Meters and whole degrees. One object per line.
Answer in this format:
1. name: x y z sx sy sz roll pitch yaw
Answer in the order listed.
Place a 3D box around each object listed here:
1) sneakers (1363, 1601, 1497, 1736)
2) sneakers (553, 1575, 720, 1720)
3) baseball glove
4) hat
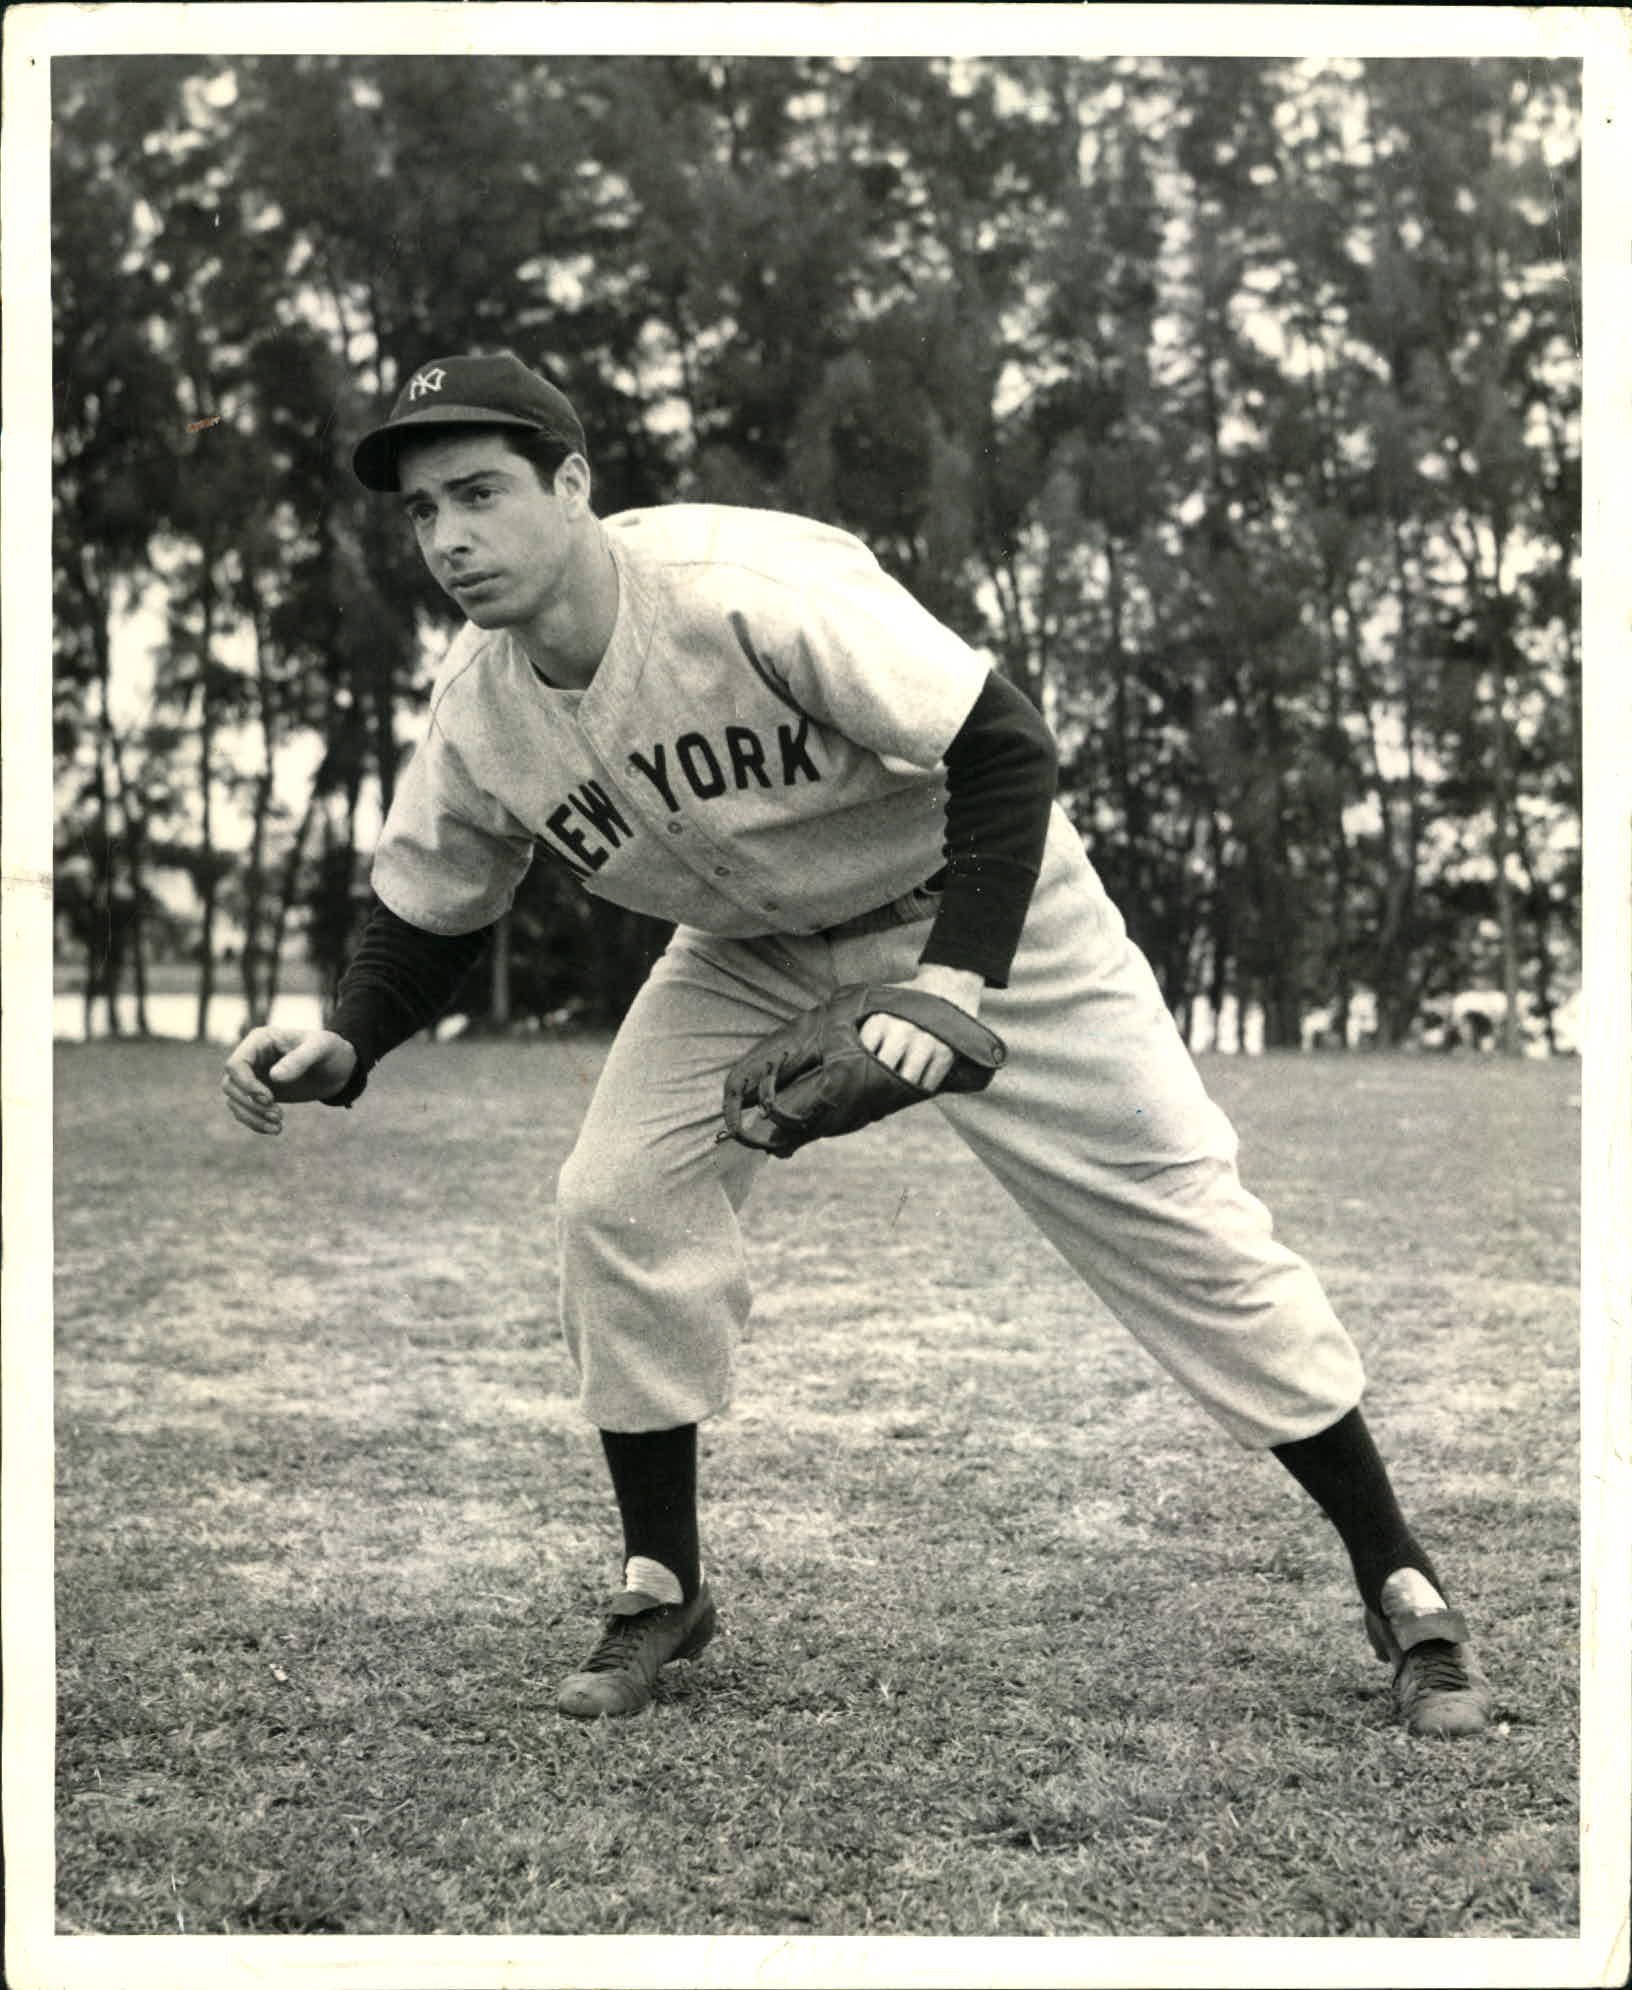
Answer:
1. sneakers: 0.758 0.835 3.697 0.072 0.076 0.191 -13 34 2
2. sneakers: -0.231 0.829 3.853 0.106 0.124 0.314 -1 12 31
3. baseball glove: 0.054 0.080 3.598 0.314 0.172 0.100 -24 4 30
4. hat: -0.430 -0.696 3.607 0.219 0.138 0.293 -6 -10 16
